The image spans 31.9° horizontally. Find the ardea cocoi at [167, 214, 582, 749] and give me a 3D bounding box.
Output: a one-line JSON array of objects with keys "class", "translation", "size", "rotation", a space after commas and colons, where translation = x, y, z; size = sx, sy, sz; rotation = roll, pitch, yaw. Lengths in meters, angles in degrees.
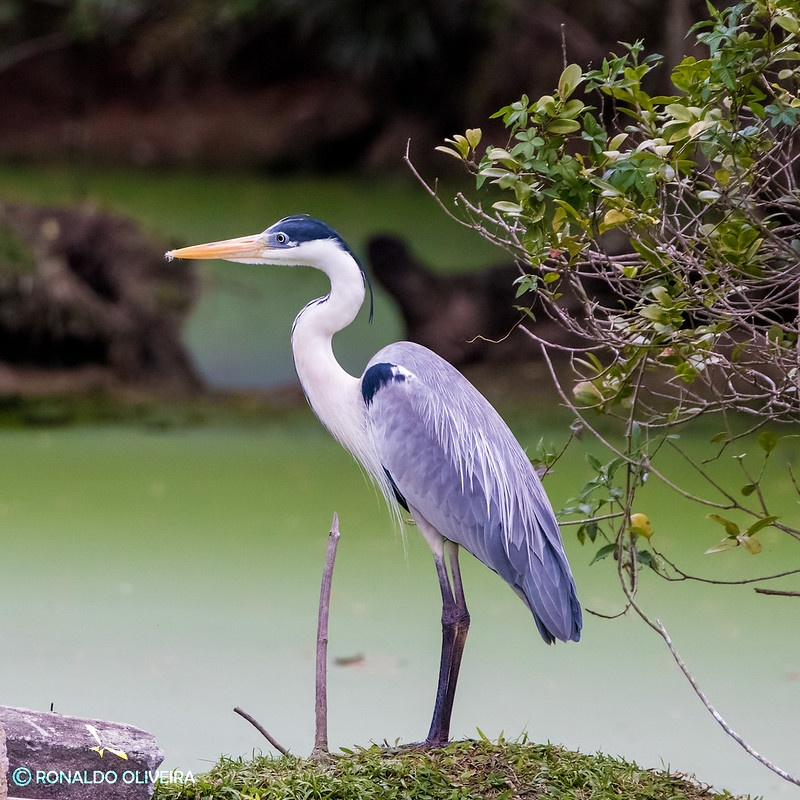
[{"class": "ardea cocoi", "translation": [0.030, 0.305, 5.792], "size": [1.426, 2.188, 0.446], "rotation": [1, -14, 5]}]
